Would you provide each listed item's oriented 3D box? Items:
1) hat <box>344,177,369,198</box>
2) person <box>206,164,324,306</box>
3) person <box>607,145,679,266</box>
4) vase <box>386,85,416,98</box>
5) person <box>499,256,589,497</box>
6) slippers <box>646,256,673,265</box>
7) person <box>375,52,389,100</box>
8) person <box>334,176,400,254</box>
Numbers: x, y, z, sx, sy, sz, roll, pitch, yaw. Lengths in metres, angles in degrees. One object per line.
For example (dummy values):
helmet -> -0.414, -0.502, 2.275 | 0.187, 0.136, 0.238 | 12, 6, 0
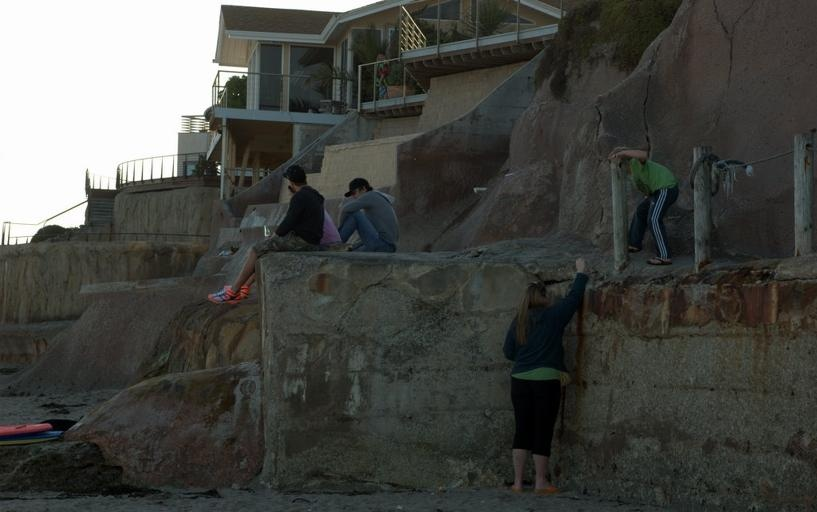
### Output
hat -> -0.812, -1.040, 18.238 | 0.357, 0.226, 0.269 | -9, 7, 17
person -> -1.884, -0.306, 17.144 | 1.412, 1.771, 0.740 | -7, 10, -5
person -> 3.127, -0.713, 16.270 | 0.751, 1.452, 0.879 | -3, 11, 15
vase -> -0.183, -4.125, 30.335 | 0.643, 0.297, 0.892 | -12, 12, -22
person -> 1.696, 1.621, 15.756 | 1.247, 2.535, 0.680 | -13, 12, -37
slippers -> 3.216, 0.058, 15.902 | 0.259, 0.125, 0.127 | 6, 0, -1
person -> -0.693, -4.405, 30.697 | 0.349, 0.876, 0.512 | -6, 10, -1
person -> -0.603, -0.582, 17.982 | 1.130, 1.342, 0.655 | 4, -21, 5
